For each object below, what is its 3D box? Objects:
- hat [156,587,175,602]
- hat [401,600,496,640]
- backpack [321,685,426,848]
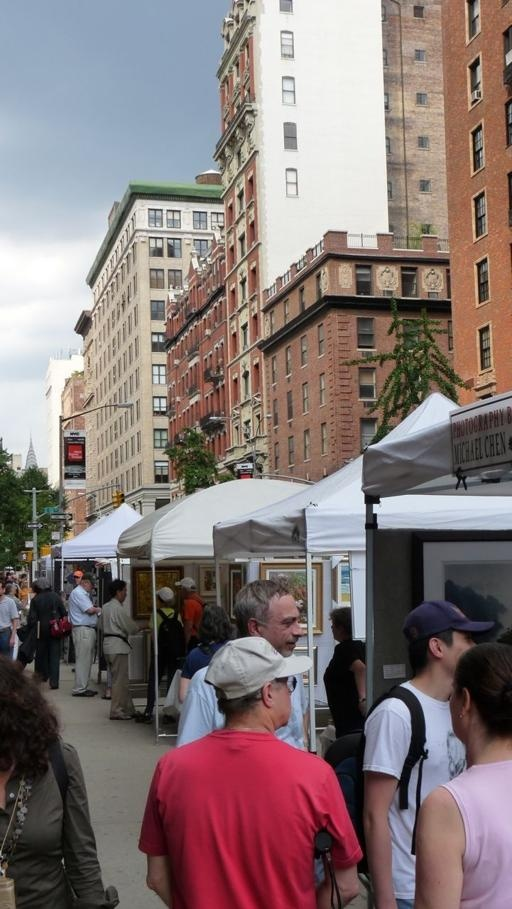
[{"bbox_3d":[-1.423,2.182,14.549,0.220,0.203,0.368,-2,22,-22],"label":"hat"},{"bbox_3d":[0.659,0.554,3.228,0.228,0.125,0.154,0,-4,6],"label":"hat"},{"bbox_3d":[0.422,1.162,3.431,0.262,0.637,0.704,-1,-8,-5],"label":"backpack"}]
